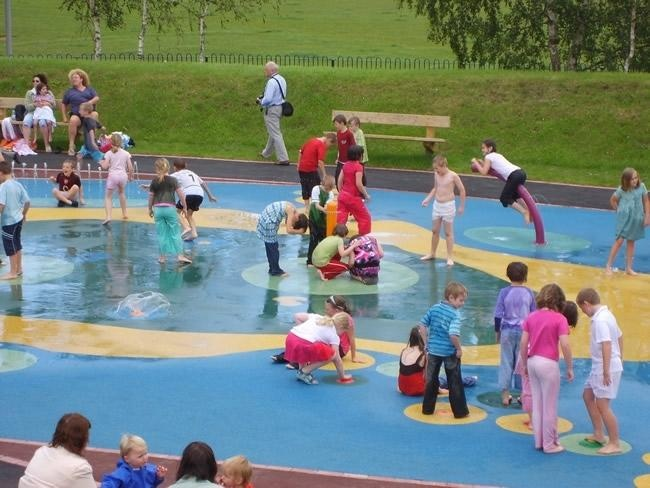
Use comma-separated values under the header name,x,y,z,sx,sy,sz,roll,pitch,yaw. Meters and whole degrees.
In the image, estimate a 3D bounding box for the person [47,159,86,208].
name,x,y,z,sx,sy,sz,roll,pitch,yaw
person,-6.567,-1.531,22.486,0.777,1.166,0.738,5,8,22

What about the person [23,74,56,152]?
name,x,y,z,sx,sy,sz,roll,pitch,yaw
person,-9.509,-4.313,29.453,1.067,2.553,0.857,-5,13,-18

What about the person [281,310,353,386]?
name,x,y,z,sx,sy,sz,roll,pitch,yaw
person,-0.144,1.595,13.400,1.048,1.211,0.987,-6,17,-36

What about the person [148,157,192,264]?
name,x,y,z,sx,sy,sz,roll,pitch,yaw
person,-3.205,-0.666,18.225,0.793,2.134,0.512,-5,13,-18

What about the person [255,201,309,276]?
name,x,y,z,sx,sy,sz,roll,pitch,yaw
person,-0.933,-0.121,17.621,0.814,1.499,1.204,-6,13,-21

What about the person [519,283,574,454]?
name,x,y,z,sx,sy,sz,roll,pitch,yaw
person,2.997,1.658,11.923,0.630,2.117,0.728,-3,12,-9

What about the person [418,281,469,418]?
name,x,y,z,sx,sy,sz,roll,pitch,yaw
person,1.699,1.507,12.554,0.662,1.882,0.416,0,12,6

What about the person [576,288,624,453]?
name,x,y,z,sx,sy,sz,roll,pitch,yaw
person,3.740,1.666,11.886,0.467,2.113,0.715,-6,13,-21

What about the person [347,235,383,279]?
name,x,y,z,sx,sy,sz,roll,pitch,yaw
person,0.805,0.297,17.599,0.676,0.852,0.603,-1,12,1

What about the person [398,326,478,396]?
name,x,y,z,sx,sy,sz,roll,pitch,yaw
person,1.703,1.763,13.281,0.724,1.035,1.001,7,11,39

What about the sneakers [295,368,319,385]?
name,x,y,z,sx,sy,sz,roll,pitch,yaw
sneakers,-0.253,2.004,13.406,0.281,0.119,0.199,16,19,35

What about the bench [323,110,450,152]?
name,x,y,z,sx,sy,sz,roll,pitch,yaw
bench,2.408,-3.725,30.224,3.648,1.307,0.952,2,16,-3

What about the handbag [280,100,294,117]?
name,x,y,z,sx,sy,sz,roll,pitch,yaw
handbag,-1.201,-4.324,28.293,0.327,0.450,0.394,-2,12,-7

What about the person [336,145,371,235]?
name,x,y,z,sx,sy,sz,roll,pitch,yaw
person,0.593,-1.115,18.571,0.711,1.936,1.493,-1,12,2

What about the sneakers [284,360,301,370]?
name,x,y,z,sx,sy,sz,roll,pitch,yaw
sneakers,-0.479,1.873,13.813,0.280,0.200,0.104,0,2,42

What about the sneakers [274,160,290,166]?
name,x,y,z,sx,sy,sz,roll,pitch,yaw
sneakers,-1.431,-2.652,29.129,0.426,0.207,0.157,9,13,18

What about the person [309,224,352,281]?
name,x,y,z,sx,sy,sz,roll,pitch,yaw
person,0.109,0.209,17.736,0.552,1.002,0.890,31,29,28
